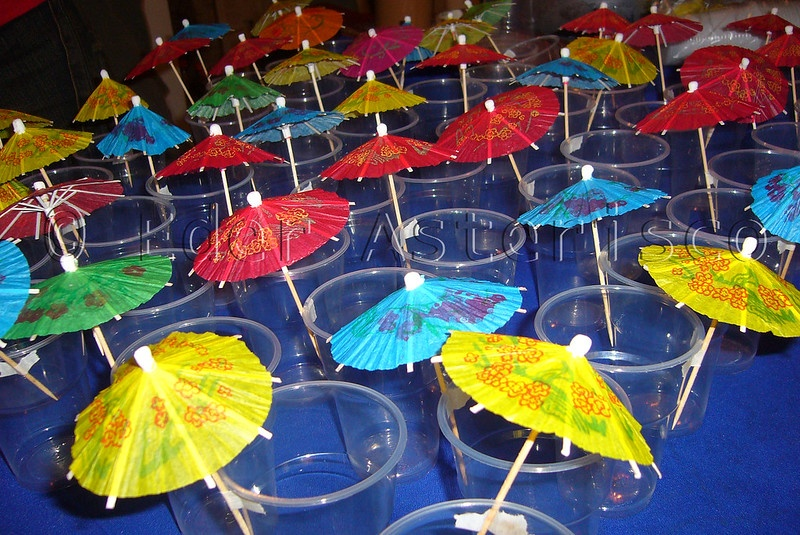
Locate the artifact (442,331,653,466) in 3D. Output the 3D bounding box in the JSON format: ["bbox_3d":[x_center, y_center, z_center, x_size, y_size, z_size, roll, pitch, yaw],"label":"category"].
[{"bbox_3d":[0.341,0.294,1.479,0.394,0.150,0.390,27,14,2],"label":"artifact"}]

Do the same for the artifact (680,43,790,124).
[{"bbox_3d":[1.330,-0.774,2.649,0.429,0.114,0.418,-32,57,-29],"label":"artifact"}]

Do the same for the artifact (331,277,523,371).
[{"bbox_3d":[0.058,0.119,1.870,0.565,0.166,0.549,-10,14,13],"label":"artifact"}]

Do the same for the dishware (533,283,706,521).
[{"bbox_3d":[0.614,0.385,1.781,0.426,0.442,0.430,-20,37,-14],"label":"dishware"}]
